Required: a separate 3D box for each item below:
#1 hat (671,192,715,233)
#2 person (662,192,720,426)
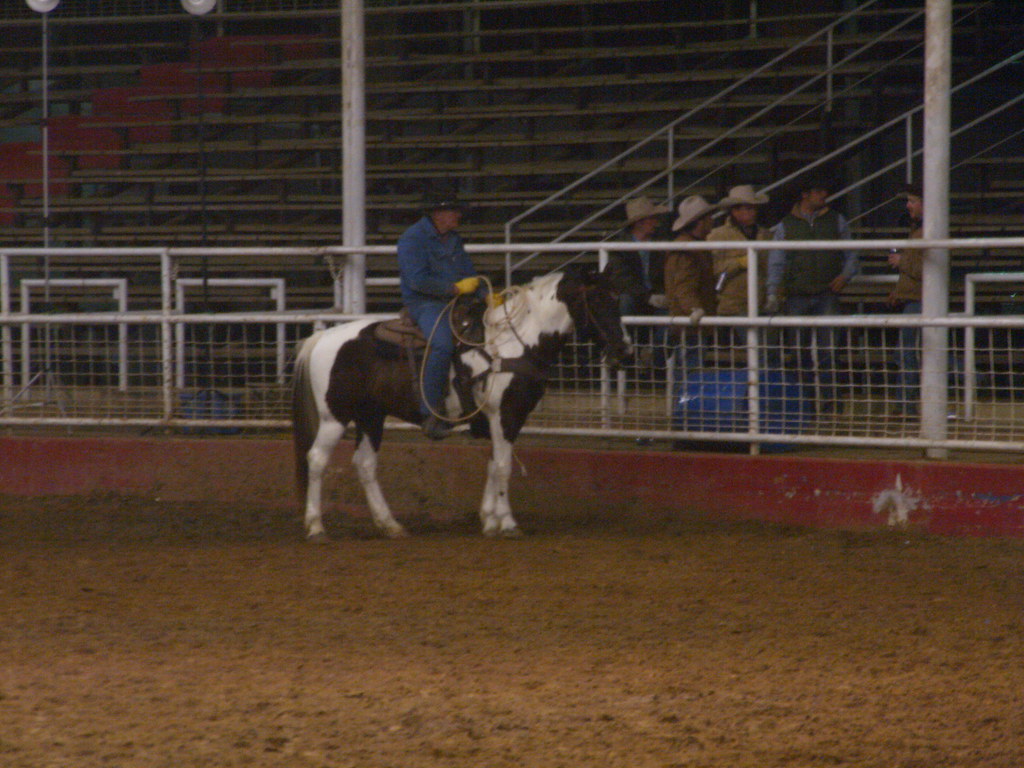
[{"bbox_3d":[1.705,-1.650,17.942,0.429,0.163,0.363,-43,4,-20],"label":"hat"},{"bbox_3d":[1.608,-0.702,17.512,0.484,1.694,0.994,1,1,4],"label":"person"}]
